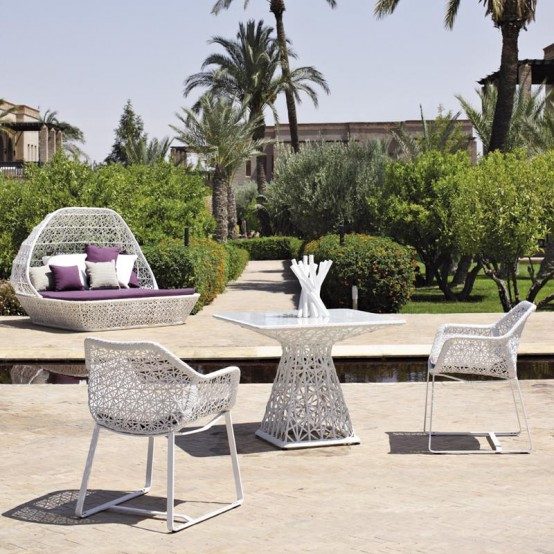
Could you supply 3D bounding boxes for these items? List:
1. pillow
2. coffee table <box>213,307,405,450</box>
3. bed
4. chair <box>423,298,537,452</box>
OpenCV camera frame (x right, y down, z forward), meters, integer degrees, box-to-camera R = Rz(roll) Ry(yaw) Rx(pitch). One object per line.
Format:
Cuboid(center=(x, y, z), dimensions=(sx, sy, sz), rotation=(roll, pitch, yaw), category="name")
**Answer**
Cuboid(center=(-2.729, -0.094, 13.772), dimensions=(1.600, 0.758, 0.625), rotation=(-1, -18, -25), category="pillow")
Cuboid(center=(0.243, 0.755, 7.002), dimensions=(1.144, 0.924, 0.973), rotation=(-1, 6, -3), category="coffee table")
Cuboid(center=(-2.564, -0.151, 13.752), dimensions=(2.502, 1.760, 2.653), rotation=(-1, -1, 20), category="bed")
Cuboid(center=(1.658, 0.721, 7.329), dimensions=(0.971, 1.427, 1.045), rotation=(1, -1, 1), category="chair")
